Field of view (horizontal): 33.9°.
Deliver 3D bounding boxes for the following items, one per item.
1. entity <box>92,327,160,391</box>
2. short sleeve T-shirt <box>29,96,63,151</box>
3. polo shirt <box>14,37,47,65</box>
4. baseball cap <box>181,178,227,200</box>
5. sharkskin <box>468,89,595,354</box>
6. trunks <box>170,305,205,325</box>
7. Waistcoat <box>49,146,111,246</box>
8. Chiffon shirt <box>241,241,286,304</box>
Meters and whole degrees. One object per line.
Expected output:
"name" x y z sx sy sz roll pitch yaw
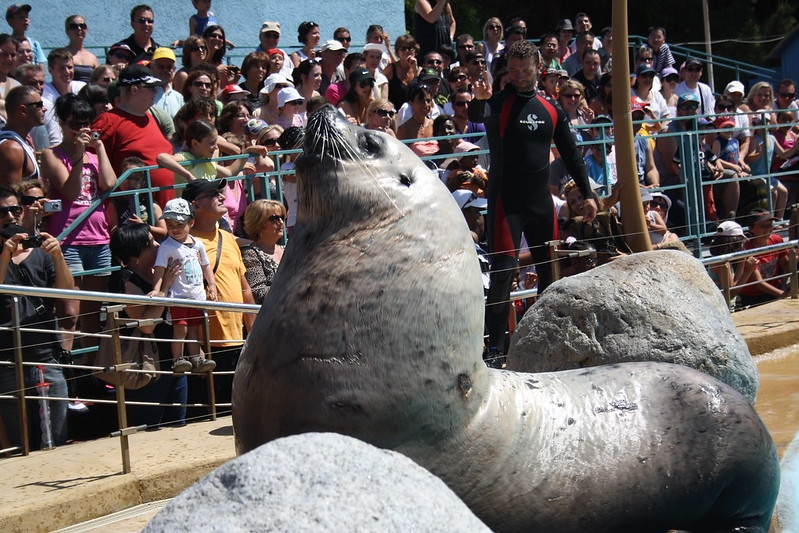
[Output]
"entity" -2.549 0.859 12.331 0.622 0.592 0.354 -6 -20 16
"short sleeve T-shirt" -3.791 -1.514 14.048 0.248 0.262 0.724 -15 -35 -12
"polo shirt" -4.497 -2.640 15.972 0.457 0.220 0.602 -4 6 -20
"baseball cap" -1.991 -0.783 13.337 0.364 0.118 0.220 -22 11 12
"sharkskin" 1.349 -0.523 13.473 1.207 2.886 0.881 -3 5 -2
"trunks" -2.086 0.467 12.980 0.350 0.178 0.309 7 10 -4
"Waistcoat" -3.375 -0.739 13.651 0.607 1.051 0.376 -5 5 -13
"Chiffon shirt" -1.317 0.069 12.496 0.693 0.566 0.357 0 -8 -32
